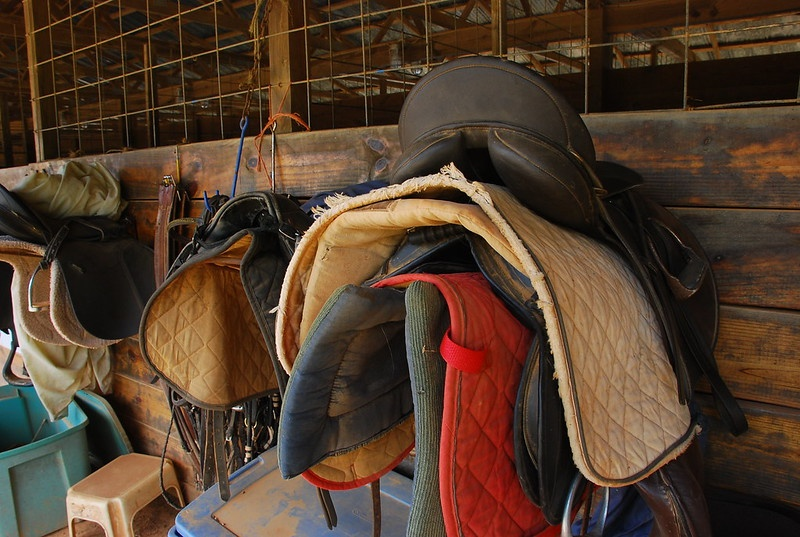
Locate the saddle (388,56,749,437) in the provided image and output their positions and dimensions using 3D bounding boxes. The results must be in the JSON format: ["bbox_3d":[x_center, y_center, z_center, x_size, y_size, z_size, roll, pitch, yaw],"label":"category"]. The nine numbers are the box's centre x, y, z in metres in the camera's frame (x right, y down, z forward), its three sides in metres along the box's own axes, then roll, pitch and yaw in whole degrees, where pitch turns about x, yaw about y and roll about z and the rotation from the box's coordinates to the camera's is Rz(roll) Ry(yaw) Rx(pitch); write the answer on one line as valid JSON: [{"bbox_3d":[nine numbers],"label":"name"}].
[{"bbox_3d":[0.477,-0.084,1.611,0.626,0.922,0.315,-9,8,32],"label":"saddle"}]

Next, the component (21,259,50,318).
[{"bbox_3d":[-1.530,0.076,2.681,0.158,0.239,0.063,-1,4,23],"label":"component"}]
